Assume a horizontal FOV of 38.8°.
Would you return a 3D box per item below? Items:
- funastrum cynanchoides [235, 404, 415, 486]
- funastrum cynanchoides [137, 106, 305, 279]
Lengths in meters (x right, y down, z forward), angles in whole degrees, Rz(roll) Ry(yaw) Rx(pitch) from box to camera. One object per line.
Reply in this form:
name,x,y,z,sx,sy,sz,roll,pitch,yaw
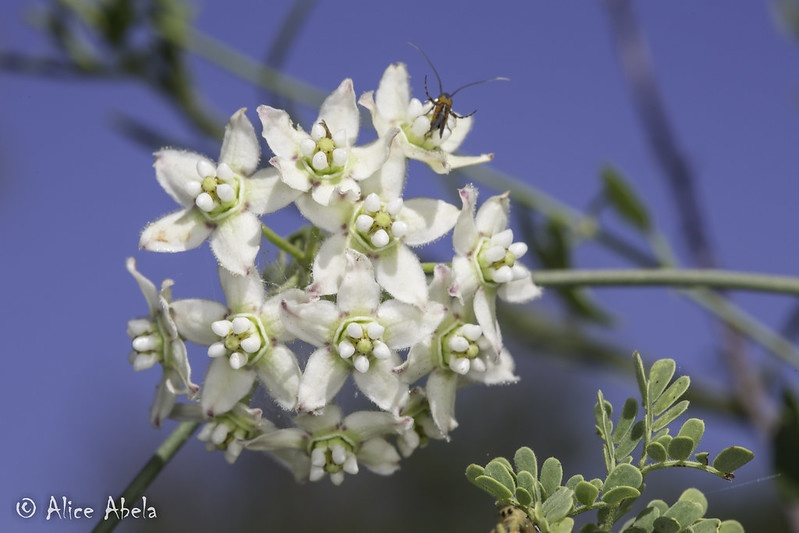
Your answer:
funastrum cynanchoides,-0.302,0.777,4.986,0.451,0.471,0.208,25,46,-40
funastrum cynanchoides,-0.781,-0.304,4.915,0.654,0.849,0.302,-4,-17,14
